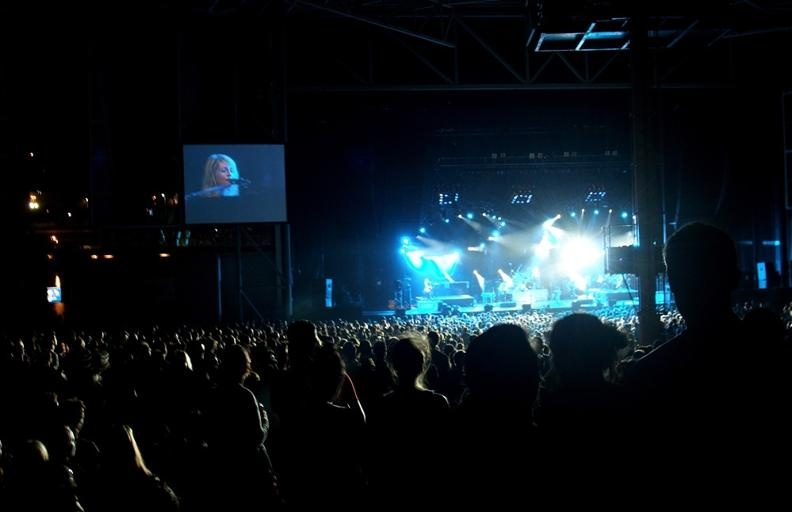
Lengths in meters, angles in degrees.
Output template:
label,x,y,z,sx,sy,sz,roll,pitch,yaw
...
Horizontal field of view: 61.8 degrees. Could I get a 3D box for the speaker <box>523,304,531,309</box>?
label,x,y,z,sx,sy,sz,roll,pitch,yaw
speaker,4.230,1.662,21.268,0.206,0.135,0.114,0,-12,-2
